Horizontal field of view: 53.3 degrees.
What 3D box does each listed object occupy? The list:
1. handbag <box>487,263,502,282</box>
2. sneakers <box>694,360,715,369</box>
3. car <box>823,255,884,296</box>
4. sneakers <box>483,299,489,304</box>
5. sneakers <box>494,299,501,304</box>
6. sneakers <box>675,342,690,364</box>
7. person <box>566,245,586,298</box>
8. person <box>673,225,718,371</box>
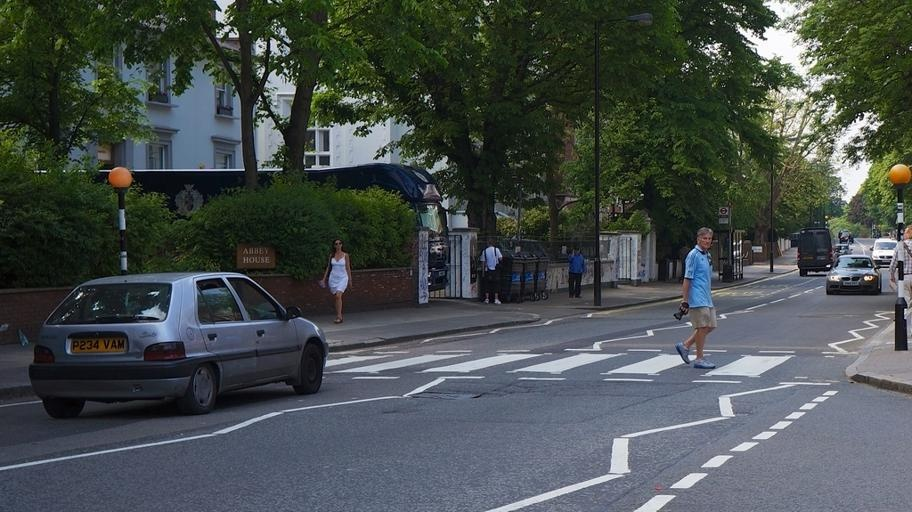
[{"bbox_3d":[1.535,0.659,36.637,0.658,0.768,0.531,-1,7,0],"label":"handbag"},{"bbox_3d":[5.902,2.546,21.313,0.550,0.211,0.207,1,1,7],"label":"sneakers"},{"bbox_3d":[18.962,0.922,43.066,2.240,1.656,2.282,2,7,27],"label":"car"},{"bbox_3d":[1.247,1.823,36.943,0.124,0.151,0.362,-2,-10,0],"label":"sneakers"},{"bbox_3d":[1.746,1.839,36.689,0.107,0.218,0.339,7,8,41],"label":"sneakers"},{"bbox_3d":[5.476,2.377,21.680,0.270,0.635,0.252,-20,25,10],"label":"sneakers"},{"bbox_3d":[5.559,0.723,41.611,0.700,2.181,1.478,0,7,8],"label":"person"},{"bbox_3d":[5.722,0.974,21.465,0.885,3.266,0.970,1,7,15],"label":"person"}]
